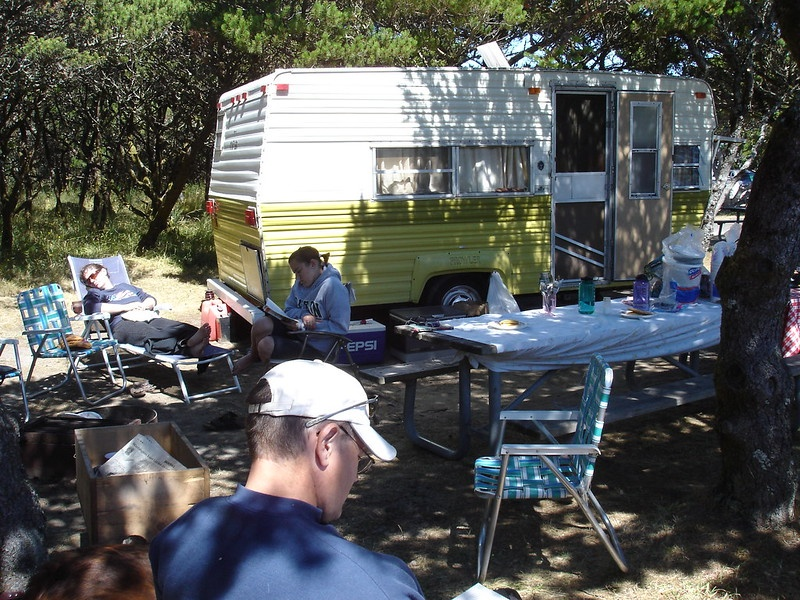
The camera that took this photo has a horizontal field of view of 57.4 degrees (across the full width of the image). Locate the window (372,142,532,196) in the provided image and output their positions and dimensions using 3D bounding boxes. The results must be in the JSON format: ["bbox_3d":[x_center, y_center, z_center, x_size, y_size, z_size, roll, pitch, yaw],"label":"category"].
[{"bbox_3d":[0.666,-1.544,8.688,1.935,0.653,0.101,-2,0,-4],"label":"window"}]

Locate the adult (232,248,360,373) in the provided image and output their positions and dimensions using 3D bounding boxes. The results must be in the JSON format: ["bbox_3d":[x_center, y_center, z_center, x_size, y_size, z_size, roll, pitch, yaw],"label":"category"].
[{"bbox_3d":[-1.035,0.151,6.928,0.972,1.363,0.803,4,11,-28],"label":"adult"}]

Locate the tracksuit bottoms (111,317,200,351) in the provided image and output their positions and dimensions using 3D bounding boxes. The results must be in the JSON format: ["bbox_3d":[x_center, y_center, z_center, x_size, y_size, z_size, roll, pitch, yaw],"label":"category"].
[{"bbox_3d":[-2.559,0.337,7.576,0.624,0.195,0.421,13,29,17],"label":"tracksuit bottoms"}]

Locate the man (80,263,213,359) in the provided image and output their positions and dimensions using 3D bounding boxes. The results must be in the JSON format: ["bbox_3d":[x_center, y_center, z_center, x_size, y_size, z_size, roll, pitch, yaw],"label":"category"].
[{"bbox_3d":[-2.745,0.201,7.879,2.014,0.861,0.758,18,17,41],"label":"man"}]

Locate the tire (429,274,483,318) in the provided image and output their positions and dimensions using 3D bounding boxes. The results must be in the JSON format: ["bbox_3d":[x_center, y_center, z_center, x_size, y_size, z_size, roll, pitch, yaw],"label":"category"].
[{"bbox_3d":[0.603,-0.057,8.276,0.432,0.465,0.166,4,-4,-31],"label":"tire"}]

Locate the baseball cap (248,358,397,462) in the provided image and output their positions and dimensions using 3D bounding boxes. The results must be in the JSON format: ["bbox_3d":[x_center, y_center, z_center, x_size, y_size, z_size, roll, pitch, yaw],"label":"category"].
[{"bbox_3d":[-0.267,0.403,2.553,0.408,0.237,0.324,17,-7,-20],"label":"baseball cap"}]

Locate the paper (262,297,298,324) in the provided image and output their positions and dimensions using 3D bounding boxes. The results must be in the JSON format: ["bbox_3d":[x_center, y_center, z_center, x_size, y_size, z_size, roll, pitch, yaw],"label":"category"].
[{"bbox_3d":[-1.236,0.153,7.458,0.339,0.094,0.334,31,1,-39],"label":"paper"}]

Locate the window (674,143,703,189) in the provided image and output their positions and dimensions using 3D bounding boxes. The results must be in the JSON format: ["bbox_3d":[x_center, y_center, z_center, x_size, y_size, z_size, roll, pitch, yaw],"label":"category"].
[{"bbox_3d":[4.081,-1.949,10.403,0.578,0.623,0.041,-6,10,-31],"label":"window"}]

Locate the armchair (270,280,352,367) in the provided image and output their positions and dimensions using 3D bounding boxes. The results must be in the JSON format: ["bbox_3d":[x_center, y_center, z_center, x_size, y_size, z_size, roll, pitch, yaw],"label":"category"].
[{"bbox_3d":[-0.906,0.176,6.886,0.707,0.894,0.698,4,-7,40],"label":"armchair"}]

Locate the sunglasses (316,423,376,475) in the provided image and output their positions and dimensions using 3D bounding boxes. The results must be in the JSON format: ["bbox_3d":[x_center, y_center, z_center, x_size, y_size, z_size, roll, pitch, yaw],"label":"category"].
[{"bbox_3d":[-0.189,0.495,2.464,0.044,0.171,0.161,-21,-16,-23],"label":"sunglasses"}]

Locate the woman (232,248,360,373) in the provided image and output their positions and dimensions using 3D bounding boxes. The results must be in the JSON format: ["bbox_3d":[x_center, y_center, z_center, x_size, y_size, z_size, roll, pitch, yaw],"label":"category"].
[{"bbox_3d":[-1.040,0.147,6.929,0.977,1.386,0.792,5,9,-28],"label":"woman"}]

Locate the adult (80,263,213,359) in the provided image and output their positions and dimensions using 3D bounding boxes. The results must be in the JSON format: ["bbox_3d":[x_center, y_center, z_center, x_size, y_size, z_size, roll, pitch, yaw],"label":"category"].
[{"bbox_3d":[-2.845,0.124,8.013,2.014,0.861,0.758,18,17,41],"label":"adult"}]

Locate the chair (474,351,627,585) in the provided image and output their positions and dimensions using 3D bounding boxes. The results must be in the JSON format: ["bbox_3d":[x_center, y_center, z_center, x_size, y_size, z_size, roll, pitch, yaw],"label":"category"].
[{"bbox_3d":[0.915,1.008,4.508,0.902,1.220,0.757,-1,9,5],"label":"chair"}]

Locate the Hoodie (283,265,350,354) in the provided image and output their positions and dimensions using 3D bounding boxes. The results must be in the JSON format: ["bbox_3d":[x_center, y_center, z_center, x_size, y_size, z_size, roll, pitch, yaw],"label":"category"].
[{"bbox_3d":[-0.774,-0.017,6.900,0.433,0.618,0.704,-7,10,-29],"label":"Hoodie"}]
